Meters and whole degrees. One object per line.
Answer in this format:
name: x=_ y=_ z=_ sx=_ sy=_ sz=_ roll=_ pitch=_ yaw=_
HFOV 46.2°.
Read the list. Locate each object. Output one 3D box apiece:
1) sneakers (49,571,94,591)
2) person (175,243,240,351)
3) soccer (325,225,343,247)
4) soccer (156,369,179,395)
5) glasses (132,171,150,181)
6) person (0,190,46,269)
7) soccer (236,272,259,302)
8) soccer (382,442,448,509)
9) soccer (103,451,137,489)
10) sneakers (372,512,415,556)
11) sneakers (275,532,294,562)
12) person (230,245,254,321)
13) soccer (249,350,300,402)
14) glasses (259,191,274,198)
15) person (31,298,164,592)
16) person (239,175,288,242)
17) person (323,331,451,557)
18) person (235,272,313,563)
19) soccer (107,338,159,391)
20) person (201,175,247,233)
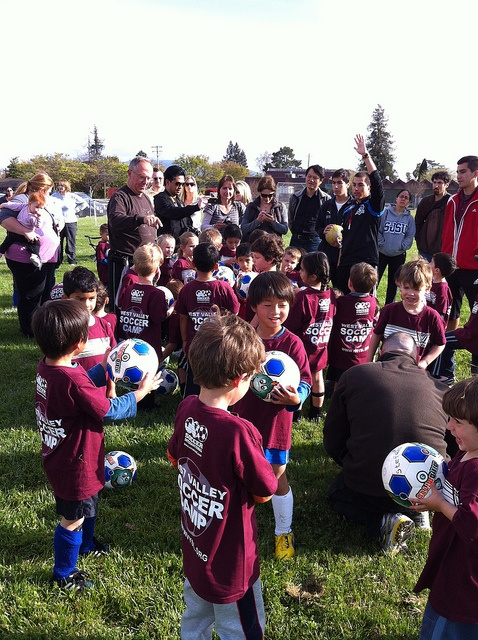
sneakers: x=-0.896 y=1.382 z=3.030 sx=0.230 sy=0.093 sz=0.104 roll=-10 pitch=-12 yaw=-19
person: x=-0.324 y=0.054 z=5.286 sx=0.629 sy=1.514 sz=0.464 roll=0 pitch=19 yaw=-12
soccer: x=1.282 y=-1.151 z=7.696 sx=0.256 sy=0.305 sz=0.256 roll=-8 pitch=20 yaw=5
soccer: x=-0.723 y=0.644 z=5.817 sx=0.266 sy=0.315 sz=0.275 roll=0 pitch=-5 yaw=7
glasses: x=-1.068 y=-1.569 z=6.220 sx=0.231 sy=0.116 sz=0.117 roll=-9 pitch=17 yaw=-42
person: x=-2.801 y=-1.169 z=7.313 sx=0.545 sy=1.005 sz=0.375 roll=3 pitch=13 yaw=3
soccer: x=0.045 y=-0.362 z=5.688 sx=0.268 sy=0.327 sz=0.273 roll=11 pitch=11 yaw=-7
soccer: x=0.801 y=0.728 z=2.646 sx=0.261 sy=0.310 sz=0.270 roll=16 pitch=32 yaw=34
soccer: x=-0.862 y=1.118 z=4.141 sx=0.303 sy=0.262 sz=0.263 roll=5 pitch=-20 yaw=-19
sneakers: x=0.934 y=1.287 z=3.425 sx=0.125 sy=0.326 sz=0.144 roll=-2 pitch=21 yaw=-37
sneakers: x=0.260 y=1.347 z=3.329 sx=0.065 sy=0.074 sz=0.185 roll=-2 pitch=13 yaw=7
person: x=0.058 y=-0.332 z=5.809 sx=0.238 sy=0.789 sz=0.213 roll=5 pitch=20 yaw=-11
soccer: x=0.213 y=0.291 z=2.962 sx=0.273 sy=0.249 sz=0.247 roll=10 pitch=-27 yaw=17
glasses: x=0.383 y=-1.668 z=7.576 sx=0.181 sy=0.085 sz=0.180 roll=0 pitch=13 yaw=-13
person: x=-0.790 y=0.642 z=3.088 sx=0.396 sy=1.526 sz=0.632 roll=14 pitch=18 yaw=42
person: x=0.376 y=-1.192 z=7.818 sx=0.580 sy=1.484 sz=0.535 roll=0 pitch=14 yaw=6
person: x=1.024 y=0.757 z=3.628 sx=0.825 sy=1.244 sz=0.735 roll=3 pitch=3 yaw=-20
person: x=0.175 y=0.597 z=3.220 sx=0.563 sy=1.706 sz=0.520 roll=-1 pitch=7 yaw=-3
soccer: x=-0.645 y=0.278 z=3.471 sx=0.286 sy=0.281 sz=0.291 roll=36 pitch=-30 yaw=-19
person: x=-0.196 y=-1.475 z=7.779 sx=0.663 sy=1.039 sz=0.552 roll=-2 pitch=17 yaw=-15
